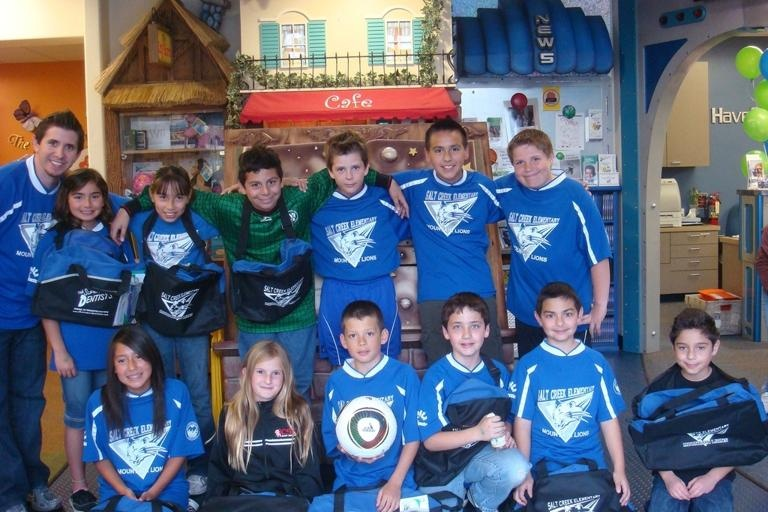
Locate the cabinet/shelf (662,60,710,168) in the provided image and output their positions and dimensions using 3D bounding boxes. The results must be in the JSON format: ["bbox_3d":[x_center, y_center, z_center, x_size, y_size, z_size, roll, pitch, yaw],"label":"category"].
[{"bbox_3d":[3.969,-1.851,9.002,0.570,1.313,0.295,-3,3,12],"label":"cabinet/shelf"}]

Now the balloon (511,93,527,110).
[{"bbox_3d":[1.434,-1.636,7.255,0.155,0.162,0.078,-1,2,-6],"label":"balloon"}]

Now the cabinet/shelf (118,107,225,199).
[{"bbox_3d":[-2.150,-1.076,6.804,1.135,1.123,0.372,-1,0,-3],"label":"cabinet/shelf"}]

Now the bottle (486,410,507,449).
[{"bbox_3d":[0.693,1.031,4.138,0.149,0.154,0.170,-48,-7,7],"label":"bottle"}]

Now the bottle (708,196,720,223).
[{"bbox_3d":[4.458,-0.632,9.259,0.134,0.402,0.325,-2,3,25],"label":"bottle"}]

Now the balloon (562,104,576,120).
[{"bbox_3d":[1.976,-1.535,7.320,0.127,0.133,0.063,-5,2,2],"label":"balloon"}]

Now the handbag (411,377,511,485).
[{"bbox_3d":[0.561,1.050,4.300,0.522,0.602,0.344,-4,10,-24],"label":"handbag"}]

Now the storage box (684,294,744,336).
[{"bbox_3d":[3.810,0.672,7.684,0.363,0.377,0.603,-4,-3,19],"label":"storage box"}]

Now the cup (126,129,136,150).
[{"bbox_3d":[-2.681,-1.226,7.260,0.119,0.291,0.212,1,-2,-23],"label":"cup"}]

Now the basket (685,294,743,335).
[{"bbox_3d":[3.772,0.649,7.694,0.319,0.386,0.599,-4,6,13],"label":"basket"}]

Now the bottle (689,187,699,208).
[{"bbox_3d":[4.258,-0.806,9.410,0.118,0.250,0.223,-2,3,24],"label":"bottle"}]

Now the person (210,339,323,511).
[{"bbox_3d":[-0.734,1.082,4.640,0.936,1.453,0.866,0,-2,-5],"label":"person"}]
